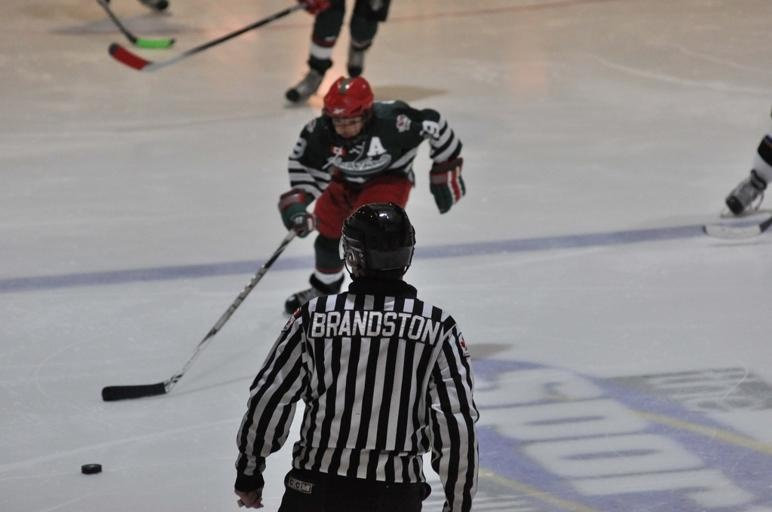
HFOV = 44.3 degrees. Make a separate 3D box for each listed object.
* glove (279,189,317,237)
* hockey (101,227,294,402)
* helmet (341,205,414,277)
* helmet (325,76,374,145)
[{"bbox_3d":[-0.458,-0.238,5.212,0.218,0.238,0.123,-10,-16,19],"label":"glove"},{"bbox_3d":[-1.024,0.339,5.152,1.549,0.257,0.177,-32,2,-10],"label":"hockey"},{"bbox_3d":[-0.057,-0.067,3.633,0.276,0.230,0.297,-1,18,-8],"label":"helmet"},{"bbox_3d":[-0.130,-0.790,4.936,0.287,0.317,0.308,9,40,17],"label":"helmet"}]
